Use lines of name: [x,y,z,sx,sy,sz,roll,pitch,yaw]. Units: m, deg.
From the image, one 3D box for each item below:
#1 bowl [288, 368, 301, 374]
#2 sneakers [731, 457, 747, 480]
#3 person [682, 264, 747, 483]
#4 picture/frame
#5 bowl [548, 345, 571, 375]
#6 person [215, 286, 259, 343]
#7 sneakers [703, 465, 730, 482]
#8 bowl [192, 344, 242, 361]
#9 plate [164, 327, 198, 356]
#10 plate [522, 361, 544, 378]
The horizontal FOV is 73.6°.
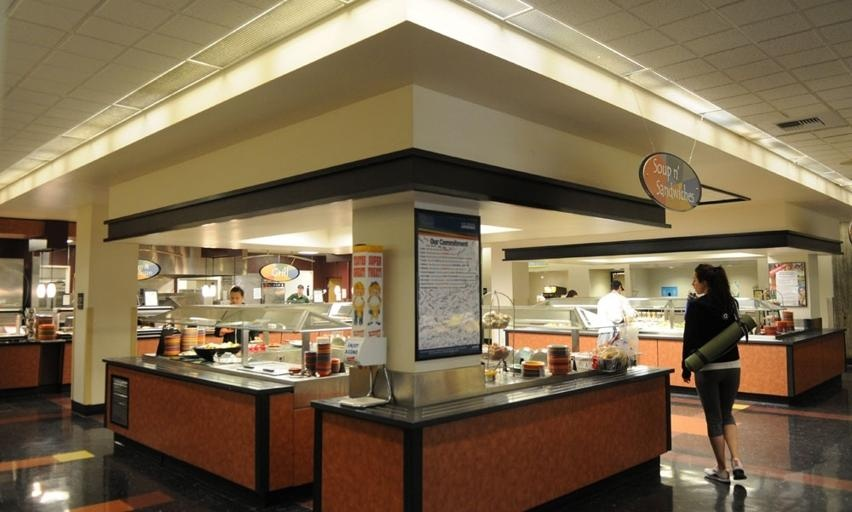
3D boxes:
bowl: [-1.654,1.441,7.156,0.160,0.041,0.131,-1,2,-1]
sneakers: [3.837,2.635,7.036,0.151,0.149,0.381,-6,-14,23]
person: [3.568,1.452,7.076,0.641,2.673,0.899,0,2,34]
picture/frame: [0.238,0.307,6.317,0.961,1.641,0.177,-3,2,-42]
bowl: [1.650,1.302,7.108,0.378,0.338,0.287,-5,-7,39]
person: [-3.145,1.009,9.360,0.545,0.953,2.133,-2,2,-19]
sneakers: [3.614,2.721,7.124,0.141,0.118,0.297,5,-5,-19]
bowl: [-3.039,1.397,8.291,0.606,0.210,0.290,-1,2,-18]
plate: [-3.760,1.312,8.667,0.531,0.411,0.344,-4,-7,24]
plate: [1.310,1.385,7.002,0.208,0.109,0.196,1,-3,-23]
